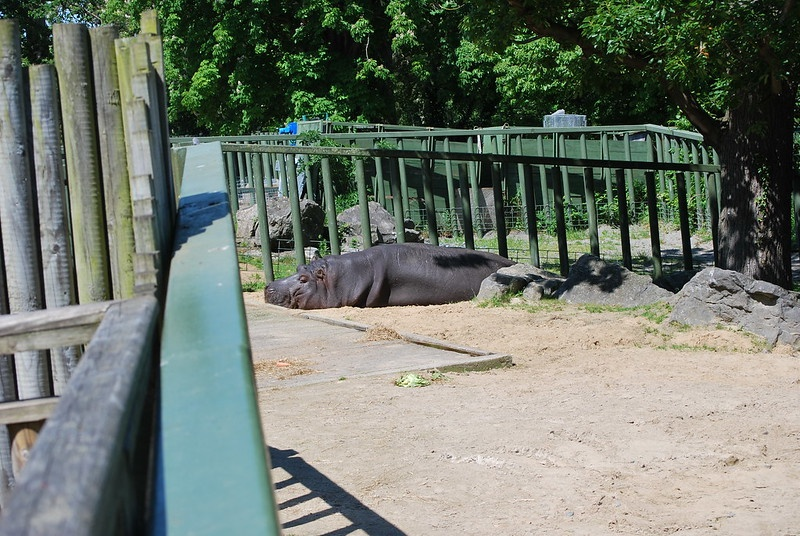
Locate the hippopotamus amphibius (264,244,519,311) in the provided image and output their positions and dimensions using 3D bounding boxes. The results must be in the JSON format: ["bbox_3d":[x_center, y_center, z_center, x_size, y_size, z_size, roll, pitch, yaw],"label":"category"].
[{"bbox_3d":[-0.126,-0.057,12.405,3.648,0.872,0.976,-1,3,-11],"label":"hippopotamus amphibius"}]
